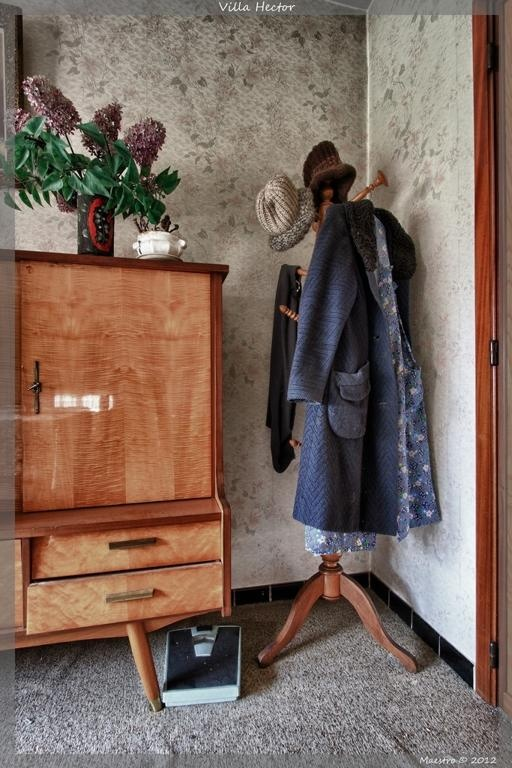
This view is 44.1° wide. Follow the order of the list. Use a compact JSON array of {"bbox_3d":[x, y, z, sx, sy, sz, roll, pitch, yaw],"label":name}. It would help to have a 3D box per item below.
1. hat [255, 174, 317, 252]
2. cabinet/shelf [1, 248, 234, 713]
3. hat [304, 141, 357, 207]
[{"bbox_3d":[0.086,-0.597,2.143,0.193,0.180,0.206,-25,43,-9],"label":"hat"},{"bbox_3d":[-0.368,0.282,1.805,0.611,1.297,0.414,-2,13,-5],"label":"cabinet/shelf"},{"bbox_3d":[0.248,-0.724,2.176,0.172,0.227,0.221,0,13,3],"label":"hat"}]
